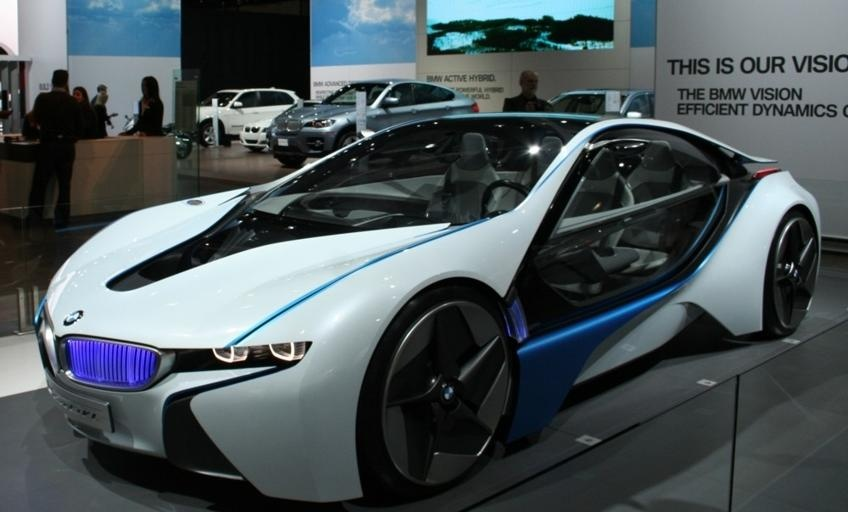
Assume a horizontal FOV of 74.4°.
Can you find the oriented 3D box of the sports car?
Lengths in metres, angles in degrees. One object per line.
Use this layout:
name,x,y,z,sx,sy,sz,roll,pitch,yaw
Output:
sports car,0.284,-0.023,3.552,4.646,1.726,2.143,-6,15,-30
